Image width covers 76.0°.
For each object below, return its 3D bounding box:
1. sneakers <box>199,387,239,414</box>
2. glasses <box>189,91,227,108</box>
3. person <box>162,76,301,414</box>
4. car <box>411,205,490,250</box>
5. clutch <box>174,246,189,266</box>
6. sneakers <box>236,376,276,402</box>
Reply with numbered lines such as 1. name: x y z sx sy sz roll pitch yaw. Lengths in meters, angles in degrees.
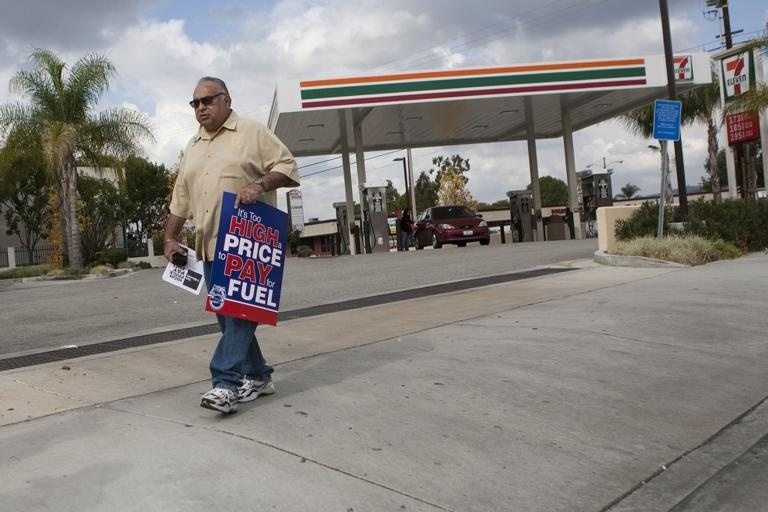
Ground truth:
1. sneakers: -1.266 1.131 3.896 0.157 0.149 0.301 21 -5 40
2. glasses: -1.474 -1.297 4.141 0.291 0.144 0.127 -3 7 -16
3. person: -1.266 -0.138 4.178 0.903 2.707 1.062 -6 8 -38
4. car: 3.011 -1.264 22.849 1.916 2.004 3.494 -7 9 -44
5. clutch: -1.785 0.012 4.356 0.150 0.142 0.105 -18 18 -33
6. sneakers: -1.073 1.137 4.154 0.121 0.137 0.295 -6 -6 38
